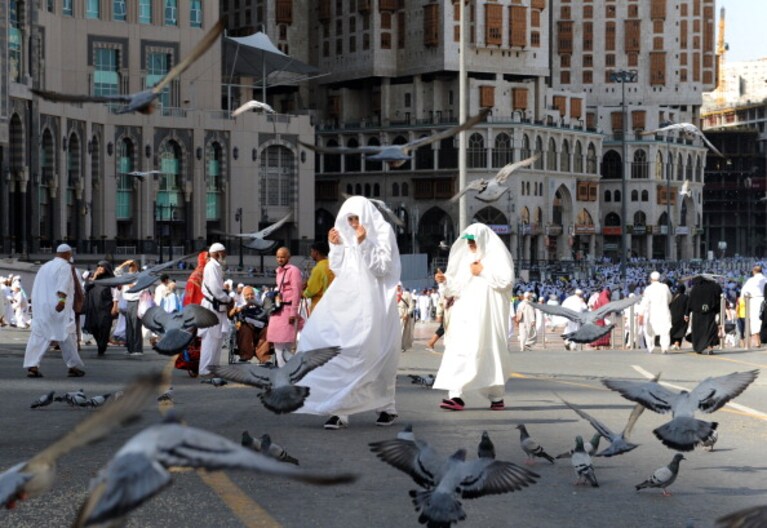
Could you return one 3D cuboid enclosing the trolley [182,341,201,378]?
[{"bbox_3d":[-5.921,2.974,46.534,0.755,1.027,1.027,1,-4,-4],"label":"trolley"}]

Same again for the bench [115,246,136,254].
[{"bbox_3d":[-15.518,-0.764,90.495,1.066,0.488,1.011,4,-3,-24],"label":"bench"}]

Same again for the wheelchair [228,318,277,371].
[{"bbox_3d":[-4.262,2.585,48.010,1.140,1.454,1.185,-3,3,-15],"label":"wheelchair"}]
